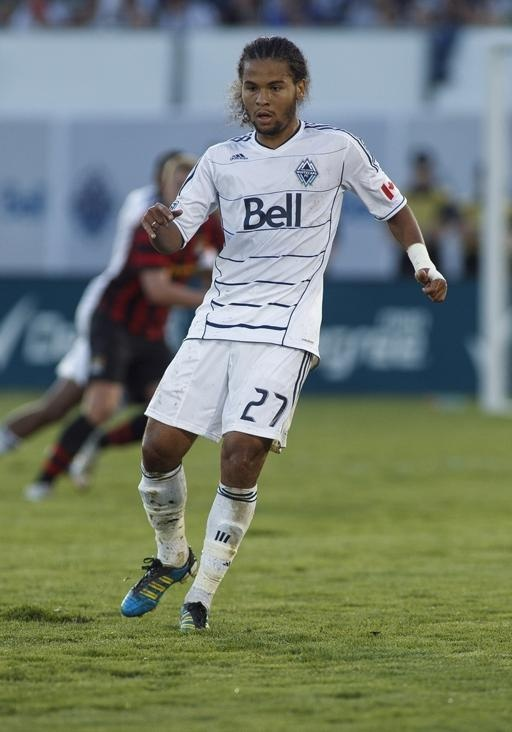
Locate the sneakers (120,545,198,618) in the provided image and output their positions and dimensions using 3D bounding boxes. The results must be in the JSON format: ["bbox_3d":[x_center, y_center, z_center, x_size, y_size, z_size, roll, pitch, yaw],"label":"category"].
[{"bbox_3d":[-0.326,0.695,3.253,0.305,0.126,0.099,-28,24,-28],"label":"sneakers"}]

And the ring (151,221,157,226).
[{"bbox_3d":[-0.307,-0.420,2.974,0.012,0.017,0.009,-4,27,-17],"label":"ring"}]

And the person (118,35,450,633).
[{"bbox_3d":[0.111,-0.086,3.063,1.153,1.808,0.664,2,-4,-1],"label":"person"}]
